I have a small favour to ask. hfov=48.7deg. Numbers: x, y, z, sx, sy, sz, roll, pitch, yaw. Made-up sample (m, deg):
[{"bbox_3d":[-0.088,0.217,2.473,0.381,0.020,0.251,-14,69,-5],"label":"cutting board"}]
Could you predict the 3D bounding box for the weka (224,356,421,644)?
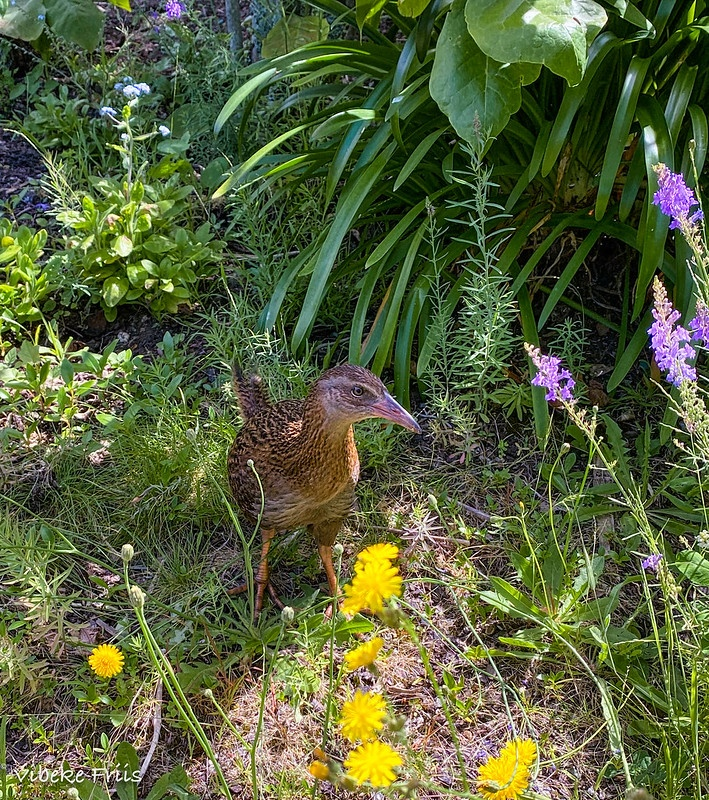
[{"bbox_3d":[-0.152,0.208,2.050,0.446,0.659,0.427,-25,52,-28],"label":"weka"}]
